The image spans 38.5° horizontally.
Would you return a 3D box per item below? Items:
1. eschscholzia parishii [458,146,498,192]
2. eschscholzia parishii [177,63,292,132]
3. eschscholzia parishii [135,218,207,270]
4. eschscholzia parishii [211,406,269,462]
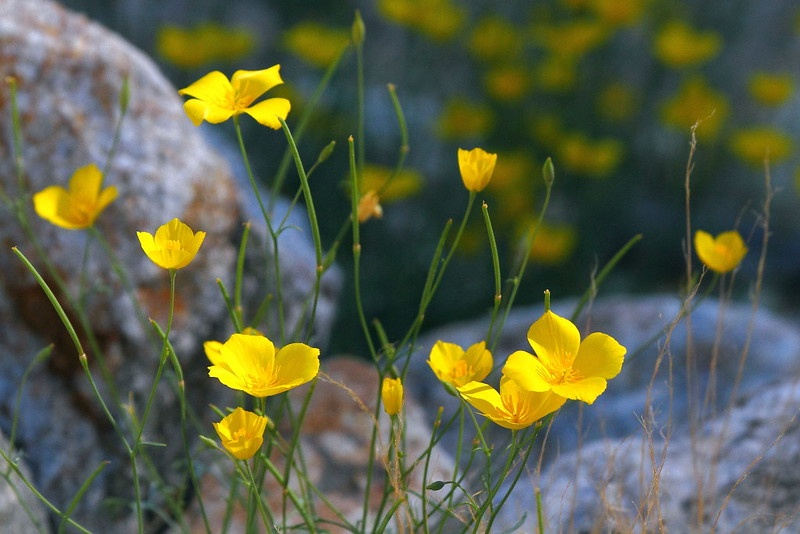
[{"bbox_3d":[0.174,-0.210,2.526,0.075,0.085,0.119,-1,-78,-29],"label":"eschscholzia parishii"},{"bbox_3d":[-0.376,-0.366,2.508,0.229,0.257,0.098,-15,-96,-25],"label":"eschscholzia parishii"},{"bbox_3d":[-0.502,-0.044,2.497,0.136,0.202,0.120,0,-99,-3],"label":"eschscholzia parishii"},{"bbox_3d":[-0.344,0.376,2.457,0.131,0.122,0.139,0,-99,-45],"label":"eschscholzia parishii"}]
